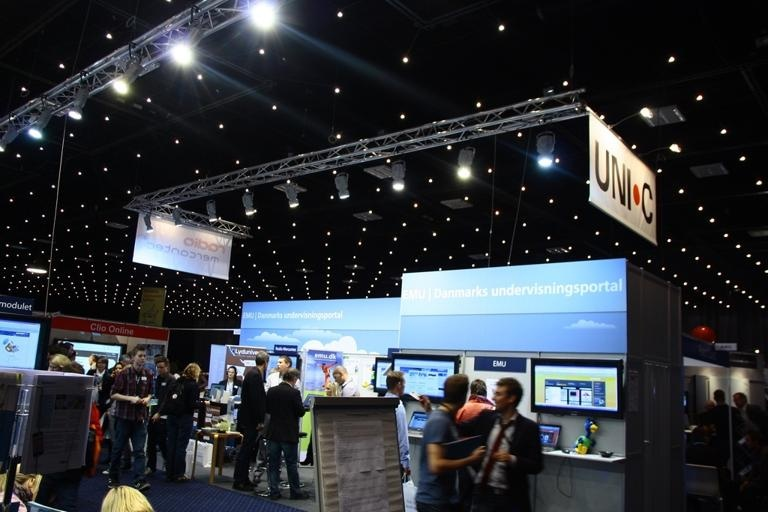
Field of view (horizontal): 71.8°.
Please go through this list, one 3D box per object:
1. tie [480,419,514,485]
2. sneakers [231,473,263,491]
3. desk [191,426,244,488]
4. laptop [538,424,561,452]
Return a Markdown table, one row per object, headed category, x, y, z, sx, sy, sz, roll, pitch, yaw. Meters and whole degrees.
| category | x | y | z | sx | sy | sz | roll | pitch | yaw |
| --- | --- | --- | --- | --- | --- | --- | --- | --- | --- |
| tie | 0.955 | 1.679 | 4.493 | 0.056 | 0.555 | 0.079 | 21 | -21 | 13 |
| sneakers | -2.032 | 3.493 | 8.180 | 0.580 | 0.268 | 0.197 | -1 | -8 | 6 |
| desk | -2.816 | 3.383 | 8.893 | 0.813 | 0.980 | 0.807 | 18 | -39 | -29 |
| laptop | 2.041 | 2.216 | 6.521 | 0.258 | 0.295 | 0.222 | -2 | -15 | 18 |
